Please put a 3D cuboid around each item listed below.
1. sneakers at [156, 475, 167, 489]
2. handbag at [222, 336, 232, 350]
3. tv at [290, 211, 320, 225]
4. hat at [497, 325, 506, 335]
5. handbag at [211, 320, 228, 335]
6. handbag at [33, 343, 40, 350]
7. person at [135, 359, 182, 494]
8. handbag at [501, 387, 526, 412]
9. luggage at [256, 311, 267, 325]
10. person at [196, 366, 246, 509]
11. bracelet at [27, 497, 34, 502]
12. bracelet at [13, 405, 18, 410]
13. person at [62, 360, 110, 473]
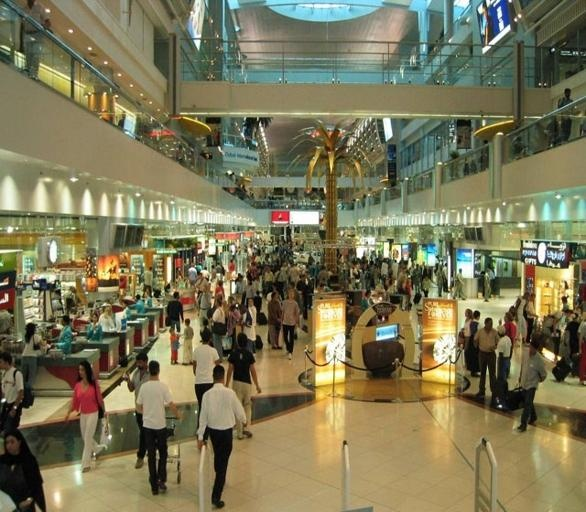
[{"bbox_3d":[-1.742,2.994,7.176,0.116,0.178,0.222,-2,6,-14],"label":"sneakers"},{"bbox_3d":[-1.644,2.190,13.500,0.231,0.331,0.129,0,3,-6],"label":"handbag"},{"bbox_3d":[0.775,-2.348,33.534,0.769,0.846,2.788,-4,7,-35],"label":"tv"},{"bbox_3d":[4.139,1.467,10.698,0.125,0.249,0.153,3,7,44],"label":"hat"},{"bbox_3d":[-1.714,1.692,12.571,0.295,0.358,0.228,4,-2,-3],"label":"handbag"},{"bbox_3d":[-4.987,1.756,10.475,0.151,0.101,0.144,-1,-8,-37],"label":"handbag"},{"bbox_3d":[-1.816,2.250,7.155,0.380,1.662,0.572,-3,6,-32],"label":"person"},{"bbox_3d":[4.012,2.611,9.760,0.507,0.556,0.236,-6,5,-37],"label":"handbag"},{"bbox_3d":[-1.002,2.039,17.511,0.305,0.361,0.326,1,-8,-7],"label":"luggage"},{"bbox_3d":[-0.961,2.267,6.827,0.454,1.648,0.788,1,5,16],"label":"person"},{"bbox_3d":[-2.809,2.600,5.753,0.048,0.052,0.013,-3,0,-28],"label":"bracelet"},{"bbox_3d":[-3.980,2.178,7.741,0.050,0.057,0.056,-4,-20,6],"label":"bracelet"},{"bbox_3d":[-3.017,2.179,7.843,0.480,1.545,0.893,-3,6,-25],"label":"person"}]
